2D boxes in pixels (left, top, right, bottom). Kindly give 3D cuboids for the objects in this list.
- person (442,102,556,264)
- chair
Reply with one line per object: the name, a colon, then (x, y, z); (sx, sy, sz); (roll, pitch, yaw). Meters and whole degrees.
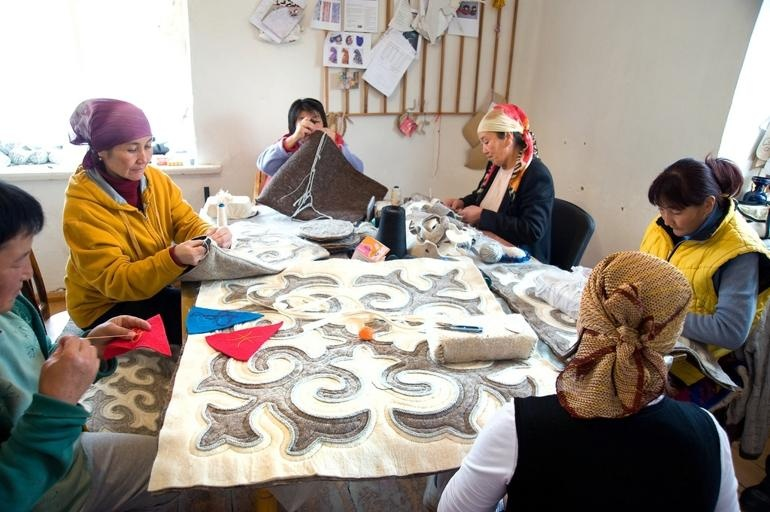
person: (0.662, -0.402, 2.971); (0.460, 0.822, 0.613); (-16, 30, -34)
chair: (-1.592, 0.231, 2.538); (0.203, 0.415, 0.183); (-1, 3, -18)
